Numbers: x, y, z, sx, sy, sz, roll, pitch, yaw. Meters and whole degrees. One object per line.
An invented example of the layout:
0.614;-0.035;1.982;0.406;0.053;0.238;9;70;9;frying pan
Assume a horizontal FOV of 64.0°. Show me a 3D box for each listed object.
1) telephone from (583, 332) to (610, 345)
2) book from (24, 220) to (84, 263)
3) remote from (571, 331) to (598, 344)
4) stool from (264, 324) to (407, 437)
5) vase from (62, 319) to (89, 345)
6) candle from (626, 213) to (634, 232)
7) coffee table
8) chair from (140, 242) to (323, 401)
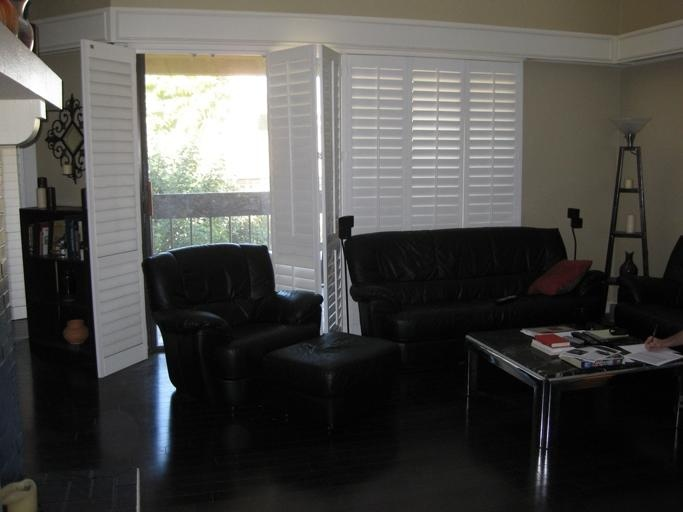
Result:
1.638;0.520;3.518;0.101;0.032;0.100;-3;8;-44;telephone
-2.334;-0.118;4.241;0.586;0.318;0.405;0;4;18;book
1.551;0.518;3.509;0.056;0.027;0.102;-9;17;-32;remote
-0.095;0.658;3.341;0.522;0.359;0.681;4;9;35;stool
-2.170;0.613;4.488;0.198;0.182;0.198;-1;-3;11;vase
2.752;-0.310;5.219;0.053;0.160;0.313;5;13;26;candle
1.287;0.654;3.292;0.819;0.381;0.767;-2;5;-20;coffee table
-0.746;0.359;3.993;1.021;1.099;1.347;-4;1;38;chair
